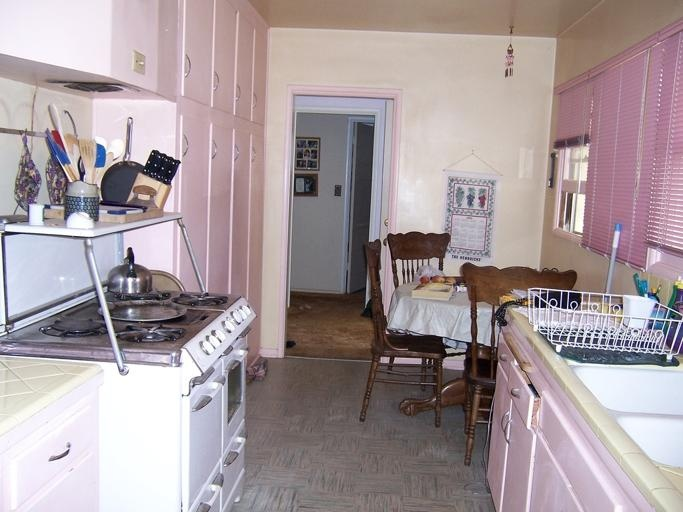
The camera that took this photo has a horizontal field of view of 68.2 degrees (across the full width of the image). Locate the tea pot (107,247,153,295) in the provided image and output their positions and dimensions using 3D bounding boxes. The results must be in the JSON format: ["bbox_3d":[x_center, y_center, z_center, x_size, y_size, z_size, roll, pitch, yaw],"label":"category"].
[{"bbox_3d":[-0.963,0.056,2.412,0.206,0.233,0.206,3,4,0],"label":"tea pot"}]

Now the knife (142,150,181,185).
[{"bbox_3d":[-0.838,-0.412,2.423,0.160,0.158,0.160,32,2,-17],"label":"knife"}]

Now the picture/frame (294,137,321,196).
[{"bbox_3d":[-0.467,-1.229,6.952,0.353,0.808,0.162,3,10,2],"label":"picture/frame"}]

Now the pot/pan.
[{"bbox_3d":[-1.052,-0.412,2.435,0.238,0.448,0.060,1,-2,10],"label":"pot/pan"}]
